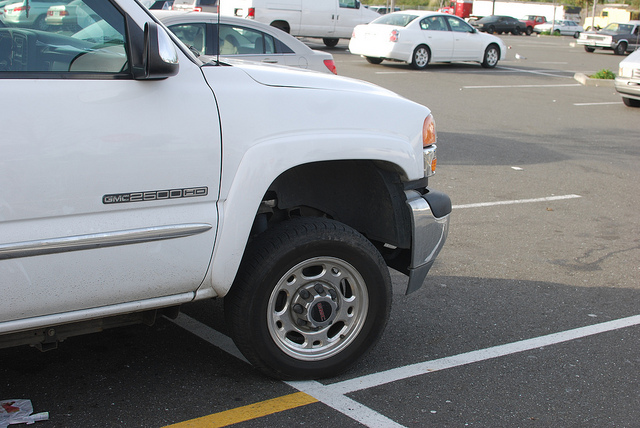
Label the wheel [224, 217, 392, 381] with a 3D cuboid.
[{"bbox_3d":[-0.102,0.557,3.185,1.057,1.010,0.372,-7,11,-24],"label":"wheel"}]

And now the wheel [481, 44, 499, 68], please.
[{"bbox_3d":[7.050,-6.602,20.134,0.765,0.737,0.246,-21,26,-31],"label":"wheel"}]

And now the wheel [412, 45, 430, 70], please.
[{"bbox_3d":[3.779,-5.933,18.218,0.905,0.871,0.328,4,7,-44],"label":"wheel"}]

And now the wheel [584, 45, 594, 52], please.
[{"bbox_3d":[18.545,-11.326,33.378,0.646,0.596,0.480,-6,19,-4],"label":"wheel"}]

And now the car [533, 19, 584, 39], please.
[{"bbox_3d":[26.929,-20.919,54.442,5.246,1.713,3.000,3,22,-5],"label":"car"}]
